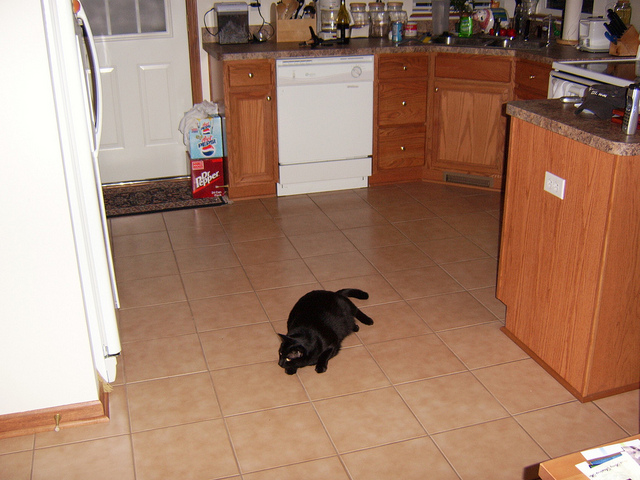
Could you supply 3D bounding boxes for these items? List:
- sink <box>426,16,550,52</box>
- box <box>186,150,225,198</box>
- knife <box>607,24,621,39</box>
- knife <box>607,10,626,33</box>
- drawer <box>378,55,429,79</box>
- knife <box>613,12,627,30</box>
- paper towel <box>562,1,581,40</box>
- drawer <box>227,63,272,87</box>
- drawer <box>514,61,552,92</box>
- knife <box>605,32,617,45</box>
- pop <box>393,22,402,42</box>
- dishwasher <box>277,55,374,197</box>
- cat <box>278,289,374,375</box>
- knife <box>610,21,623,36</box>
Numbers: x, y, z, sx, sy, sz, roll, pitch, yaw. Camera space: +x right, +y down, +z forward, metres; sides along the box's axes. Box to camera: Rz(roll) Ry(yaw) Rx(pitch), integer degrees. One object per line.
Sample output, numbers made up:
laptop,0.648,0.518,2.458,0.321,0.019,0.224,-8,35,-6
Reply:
sink,1.365,-1.681,4.043,0.947,0.215,0.796,10,28,26
box,-0.946,-0.536,4.167,0.303,0.354,0.531,-7,20,-13
knife,1.995,-1.417,3.358,0.026,0.152,0.030,-23,-9,-46
knife,2.014,-1.502,3.370,0.049,0.218,0.028,-36,-13,39
drawer,0.669,-1.425,4.053,0.346,0.167,0.224,-5,32,-6
knife,2.030,-1.489,3.360,0.079,0.105,0.113,-5,26,-1
paper towel,1.919,-1.675,3.773,0.117,0.271,0.066,8,28,23
drawer,-0.545,-1.269,3.797,0.343,0.200,0.180,-6,32,-9
drawer,1.640,-1.209,3.646,0.233,0.169,0.349,-11,31,-21
knife,1.986,-1.383,3.391,0.080,0.019,0.063,34,2,-14
pop,0.654,-1.765,4.194,0.075,0.148,0.129,0,26,7
dishwasher,-0.026,-1.033,4.368,0.756,1.139,0.740,-7,23,-13
cat,-0.024,0.437,2.398,0.285,0.242,0.494,7,27,22
knife,2.005,-1.429,3.346,0.033,0.141,0.031,-37,-11,35
